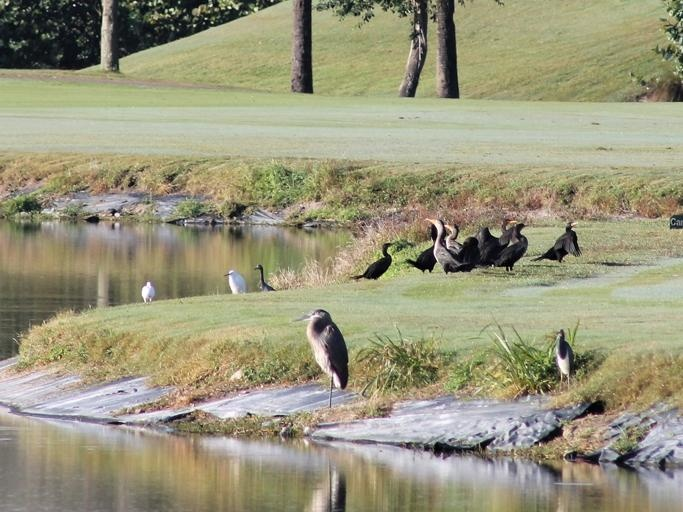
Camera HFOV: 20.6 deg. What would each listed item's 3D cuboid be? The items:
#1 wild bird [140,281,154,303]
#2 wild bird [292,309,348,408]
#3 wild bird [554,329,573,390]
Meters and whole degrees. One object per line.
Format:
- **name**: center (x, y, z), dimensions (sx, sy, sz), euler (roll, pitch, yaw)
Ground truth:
- **wild bird**: center (-6.103, 1.140, 59.539), dimensions (0.390, 0.659, 0.822), euler (1, -12, -12)
- **wild bird**: center (-0.447, 2.620, 49.582), dimensions (1.157, 2.669, 1.270), euler (-7, 12, -6)
- **wild bird**: center (5.762, 2.600, 49.250), dimensions (0.463, 1.470, 0.485), euler (-5, 12, 7)
